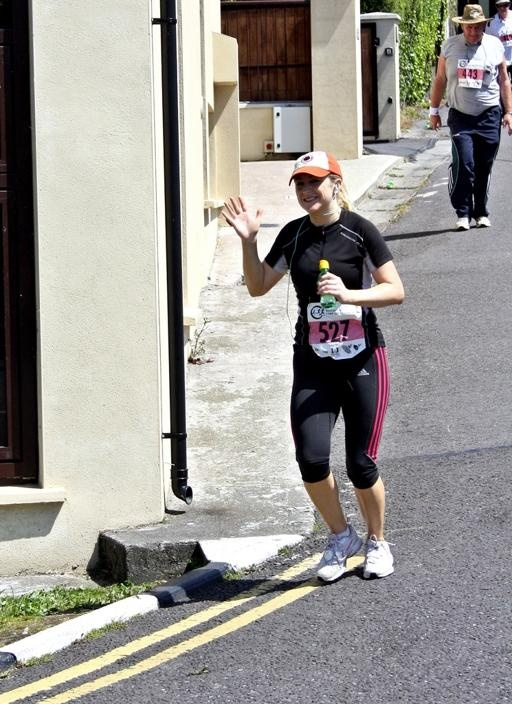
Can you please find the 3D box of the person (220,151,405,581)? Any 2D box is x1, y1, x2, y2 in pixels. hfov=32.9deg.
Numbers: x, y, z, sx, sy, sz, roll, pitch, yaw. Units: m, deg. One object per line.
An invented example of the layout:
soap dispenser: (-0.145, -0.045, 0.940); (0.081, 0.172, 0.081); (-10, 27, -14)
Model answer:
person: (0.283, 0.089, 3.567); (0.684, 1.808, 0.489); (-4, 9, 20)

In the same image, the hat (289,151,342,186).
hat: (0.253, -0.768, 3.541); (0.146, 0.093, 0.192); (-7, -9, 25)

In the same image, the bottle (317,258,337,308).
bottle: (0.274, -0.268, 3.403); (0.065, 0.189, 0.138); (-6, 8, 4)
